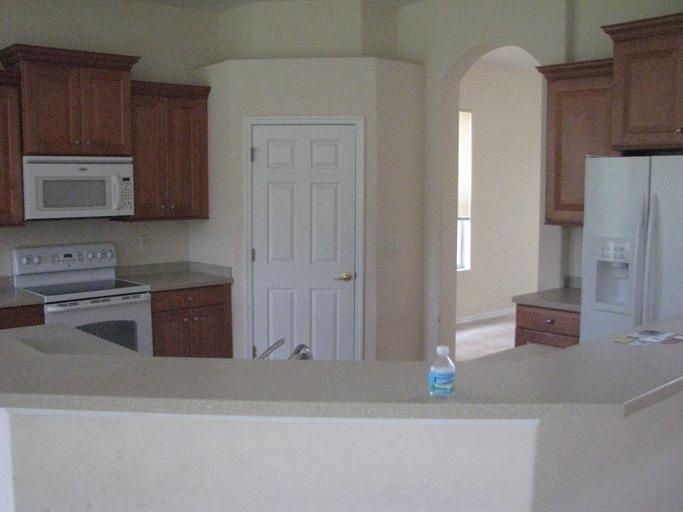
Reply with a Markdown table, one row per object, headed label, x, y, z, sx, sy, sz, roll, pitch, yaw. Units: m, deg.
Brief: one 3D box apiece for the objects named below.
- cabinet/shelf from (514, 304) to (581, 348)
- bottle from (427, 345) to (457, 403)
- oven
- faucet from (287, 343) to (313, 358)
| label | x | y | z | sx | sy | sz | roll | pitch | yaw |
| --- | --- | --- | --- | --- | --- | --- | --- | --- | --- |
| cabinet/shelf | 1.415 | 0.485 | 4.087 | 0.274 | 0.348 | 0.374 | -2 | 4 | -43 |
| bottle | 0.344 | 0.377 | 2.028 | 0.096 | 0.193 | 0.239 | 1 | 5 | 10 |
| oven | -1.863 | 0.397 | 4.537 | 0.738 | 0.690 | 0.490 | -4 | 7 | -41 |
| faucet | -0.169 | 0.410 | 2.619 | 0.069 | 0.071 | 0.133 | -1 | -6 | 32 |
